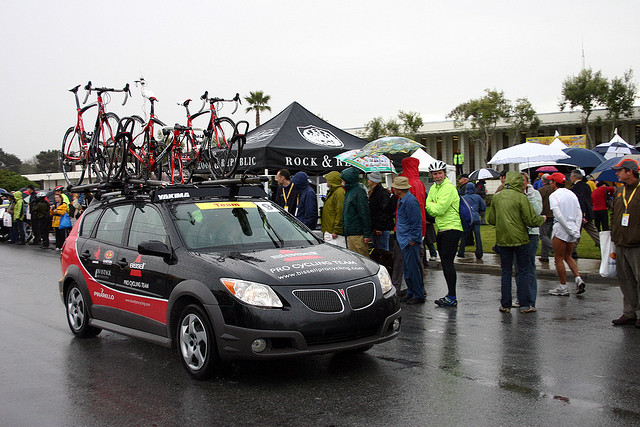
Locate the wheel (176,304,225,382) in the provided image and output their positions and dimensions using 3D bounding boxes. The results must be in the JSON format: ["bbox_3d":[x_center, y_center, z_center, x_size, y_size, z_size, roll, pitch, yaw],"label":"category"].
[{"bbox_3d":[-1.364,1.493,5.003,0.804,0.882,0.156,0,1,36],"label":"wheel"}]

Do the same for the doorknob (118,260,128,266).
[{"bbox_3d":[-2.691,0.683,5.905,0.238,0.073,0.019,-1,1,39],"label":"doorknob"}]

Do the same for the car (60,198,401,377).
[{"bbox_3d":[-1.650,0.749,6.772,3.072,1.900,5.249,-3,4,-44],"label":"car"}]

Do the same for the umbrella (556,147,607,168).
[{"bbox_3d":[13.169,-2.752,21.370,2.257,0.764,2.154,-3,8,-16],"label":"umbrella"}]

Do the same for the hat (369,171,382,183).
[{"bbox_3d":[1.277,-0.836,9.959,0.299,0.199,0.291,22,8,11],"label":"hat"}]

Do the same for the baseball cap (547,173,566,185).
[{"bbox_3d":[5.446,-0.833,10.095,0.311,0.197,0.418,-2,19,-36],"label":"baseball cap"}]

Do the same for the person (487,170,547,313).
[{"bbox_3d":[3.594,0.521,8.066,0.903,2.643,0.517,-1,1,20],"label":"person"}]

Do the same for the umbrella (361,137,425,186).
[{"bbox_3d":[2.095,-1.797,13.158,1.855,1.172,1.768,-2,21,12],"label":"umbrella"}]

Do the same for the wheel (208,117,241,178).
[{"bbox_3d":[-2.002,-1.399,9.029,0.576,1.420,1.956,-1,1,-18],"label":"wheel"}]

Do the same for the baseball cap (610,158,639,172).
[{"bbox_3d":[5.162,-0.792,7.240,0.479,0.236,0.283,3,2,11],"label":"baseball cap"}]

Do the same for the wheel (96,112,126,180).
[{"bbox_3d":[-4.460,-1.497,9.235,0.579,1.660,2.451,-2,1,-26],"label":"wheel"}]

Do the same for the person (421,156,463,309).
[{"bbox_3d":[2.476,0.391,8.690,0.589,2.929,0.643,-2,2,-43],"label":"person"}]

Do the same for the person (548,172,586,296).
[{"bbox_3d":[5.509,0.406,9.709,0.706,2.739,1.125,-1,1,31],"label":"person"}]

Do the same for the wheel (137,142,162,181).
[{"bbox_3d":[-3.853,-1.183,9.918,0.412,0.853,1.001,-1,1,1],"label":"wheel"}]

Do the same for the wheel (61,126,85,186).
[{"bbox_3d":[-6.091,-1.373,10.660,0.477,1.548,4.339,-2,1,-31],"label":"wheel"}]

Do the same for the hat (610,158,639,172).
[{"bbox_3d":[5.140,-0.814,7.238,0.448,0.220,0.266,4,2,10],"label":"hat"}]

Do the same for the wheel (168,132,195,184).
[{"bbox_3d":[-3.139,-1.165,9.661,0.813,1.342,0.199,1,5,-6],"label":"wheel"}]
